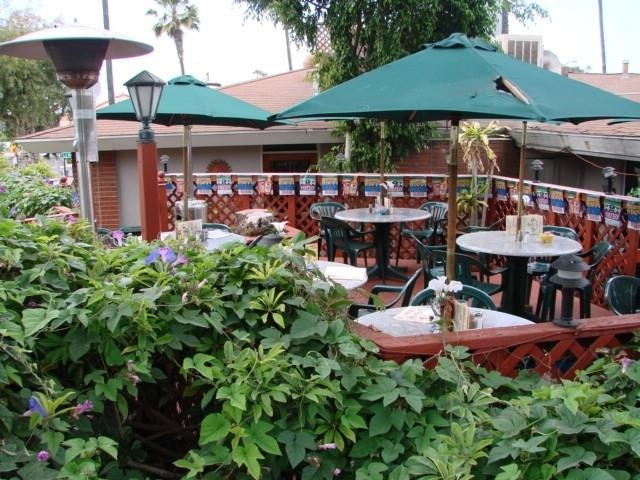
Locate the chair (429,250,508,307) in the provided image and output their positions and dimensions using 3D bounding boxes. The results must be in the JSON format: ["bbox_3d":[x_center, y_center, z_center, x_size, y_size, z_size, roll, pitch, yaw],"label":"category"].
[{"bbox_3d":[1.200,0.296,4.103,0.450,0.579,0.444,20,47,36],"label":"chair"}]

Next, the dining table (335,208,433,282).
[{"bbox_3d":[0.814,-0.007,6.864,1.139,0.775,1.091,8,-11,13],"label":"dining table"}]

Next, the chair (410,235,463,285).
[{"bbox_3d":[1.202,0.272,5.070,0.494,0.546,0.506,5,6,40],"label":"chair"}]

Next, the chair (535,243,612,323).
[{"bbox_3d":[2.420,0.439,4.899,0.650,0.739,0.504,2,4,14],"label":"chair"}]

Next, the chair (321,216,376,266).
[{"bbox_3d":[0.395,0.003,6.894,0.468,0.631,0.496,22,40,35],"label":"chair"}]

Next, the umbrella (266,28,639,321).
[{"bbox_3d":[1.089,-0.511,3.779,2.031,1.340,1.968,1,6,11],"label":"umbrella"}]

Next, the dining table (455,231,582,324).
[{"bbox_3d":[1.844,0.192,4.807,0.998,0.645,0.975,4,15,19],"label":"dining table"}]
